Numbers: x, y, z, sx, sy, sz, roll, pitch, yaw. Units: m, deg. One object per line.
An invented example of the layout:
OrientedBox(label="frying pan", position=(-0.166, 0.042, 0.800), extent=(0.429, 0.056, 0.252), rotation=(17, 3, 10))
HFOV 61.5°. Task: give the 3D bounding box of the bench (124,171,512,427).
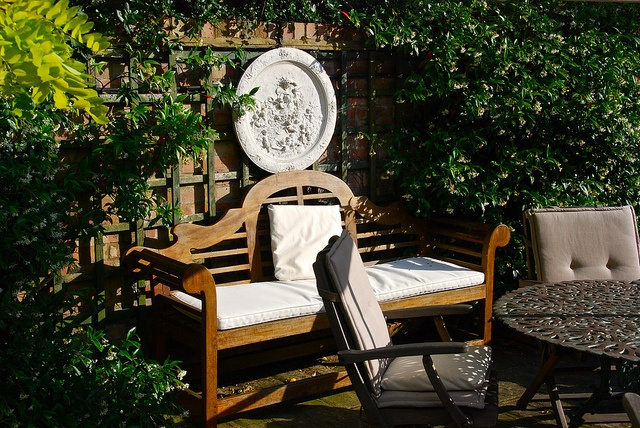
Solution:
OrientedBox(label="bench", position=(-0.101, 0.565, 3.590), extent=(1.923, 1.029, 0.554), rotation=(-4, 5, -31))
